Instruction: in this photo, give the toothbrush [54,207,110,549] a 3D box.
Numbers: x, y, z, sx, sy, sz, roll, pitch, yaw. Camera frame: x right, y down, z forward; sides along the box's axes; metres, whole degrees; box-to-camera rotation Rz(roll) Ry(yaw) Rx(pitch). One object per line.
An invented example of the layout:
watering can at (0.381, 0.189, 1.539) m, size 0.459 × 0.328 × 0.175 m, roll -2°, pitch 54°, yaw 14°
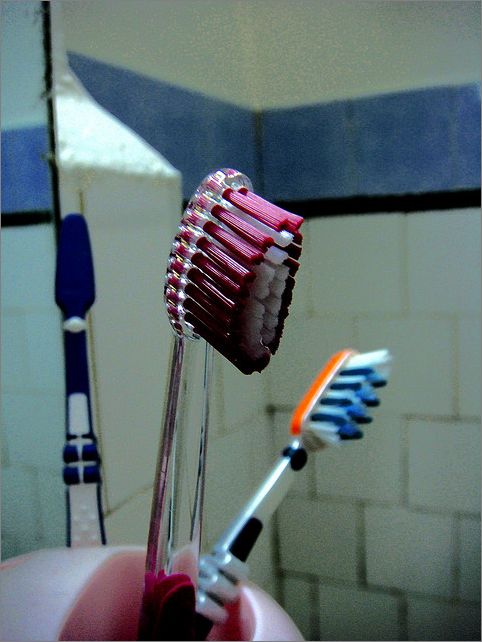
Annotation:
toothbrush at (-0.115, 0.044, 0.581) m, size 0.040 × 0.030 × 0.260 m, roll -2°, pitch 96°, yaw -1°
